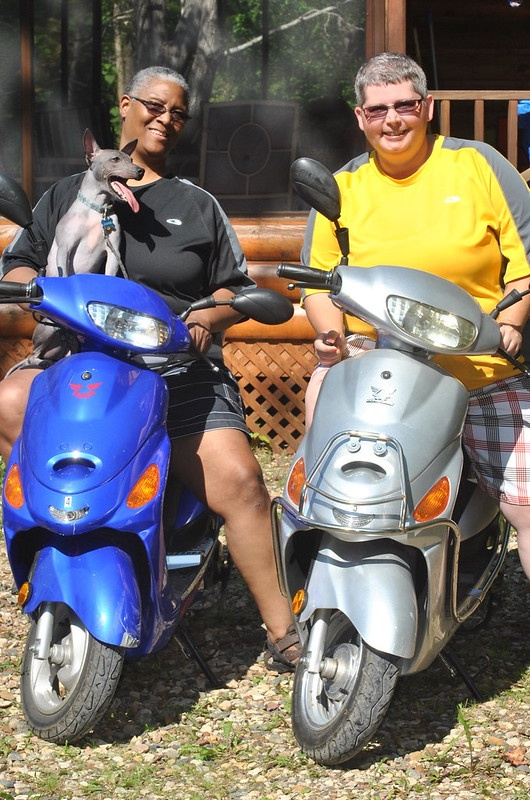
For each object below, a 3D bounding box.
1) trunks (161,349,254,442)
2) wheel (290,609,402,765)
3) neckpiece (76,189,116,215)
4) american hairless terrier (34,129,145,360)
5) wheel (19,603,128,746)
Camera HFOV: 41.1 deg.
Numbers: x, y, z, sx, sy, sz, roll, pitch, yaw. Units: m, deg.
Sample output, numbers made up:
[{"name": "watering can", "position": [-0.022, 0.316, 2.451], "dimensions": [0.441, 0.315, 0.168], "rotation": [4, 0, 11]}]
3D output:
[{"name": "trunks", "position": [-0.229, -0.016, 2.545], "dimensions": [0.216, 0.084, 0.356], "rotation": [-11, 32, -2]}, {"name": "wheel", "position": [0.127, 0.683, 1.653], "dimensions": [0.132, 0.378, 0.378], "rotation": [17, 53, 13]}, {"name": "neckpiece", "position": [-0.635, -0.734, 2.645], "dimensions": [0.135, 0.094, 0.080], "rotation": [13, 0, -17]}, {"name": "american hairless terrier", "position": [-0.690, -0.590, 2.761], "dimensions": [0.373, 0.835, 0.645], "rotation": [3, 3, -33]}, {"name": "wheel", "position": [-0.534, 0.674, 1.891], "dimensions": [0.408, 0.411, 0.141], "rotation": [-1, -15, 43]}]
